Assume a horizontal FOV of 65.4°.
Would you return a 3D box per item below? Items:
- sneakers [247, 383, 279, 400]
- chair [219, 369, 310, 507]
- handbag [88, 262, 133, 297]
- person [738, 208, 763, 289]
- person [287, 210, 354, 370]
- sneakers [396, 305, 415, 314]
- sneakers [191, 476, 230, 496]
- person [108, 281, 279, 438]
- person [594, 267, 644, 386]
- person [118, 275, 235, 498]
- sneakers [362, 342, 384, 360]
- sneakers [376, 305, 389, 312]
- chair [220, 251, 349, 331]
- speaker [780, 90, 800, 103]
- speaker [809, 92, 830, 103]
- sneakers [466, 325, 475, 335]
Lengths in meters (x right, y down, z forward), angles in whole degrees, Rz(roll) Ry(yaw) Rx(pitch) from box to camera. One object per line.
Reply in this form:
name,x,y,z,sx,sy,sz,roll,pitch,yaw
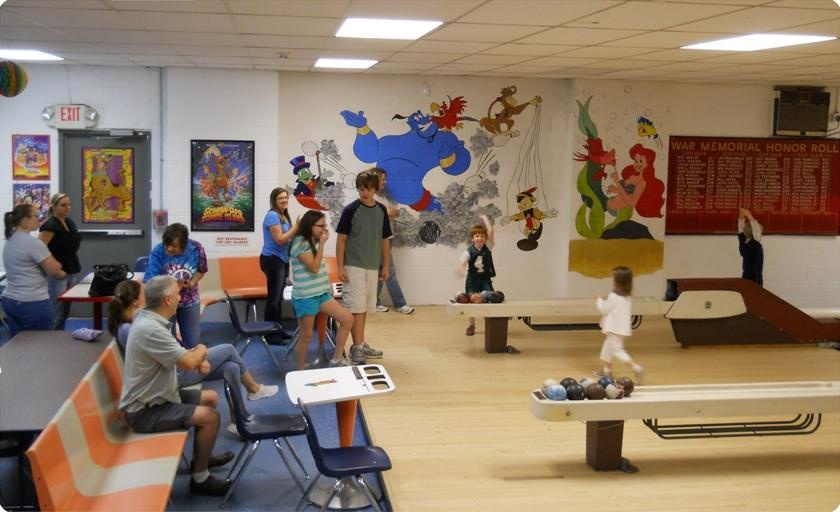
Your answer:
sneakers,-1.737,1.542,7.383,0.386,0.155,0.161,-6,18,-11
chair,-1.573,1.836,6.809,1.024,1.092,0.783,1,2,-23
handbag,-4.016,0.319,8.702,0.663,0.377,0.599,-8,3,-34
person,6.155,-0.172,12.131,0.464,1.399,0.441,-1,9,0
person,-1.254,0.434,8.227,0.691,1.978,0.303,-3,9,-11
sneakers,-0.234,0.934,11.394,0.277,0.112,0.138,-2,1,28
sneakers,-2.111,2.339,6.644,0.350,0.137,0.188,-1,2,0
person,-2.489,0.984,7.504,2.053,1.242,0.772,7,0,-44
person,2.533,0.863,8.363,0.518,1.446,0.707,0,8,6
person,-2.465,1.360,6.842,1.307,2.102,0.881,1,3,-23
sneakers,-0.682,1.309,9.120,0.368,0.148,0.129,9,12,-29
sneakers,-0.628,0.909,11.412,0.249,0.106,0.105,6,6,24
chair,-2.240,0.631,10.817,1.989,1.267,0.759,-3,3,-20
speaker,6.808,-2.920,12.043,0.381,0.237,0.198,1,9,6
speaker,7.368,-2.905,12.050,0.357,0.220,0.185,0,0,6
sneakers,0.808,1.159,10.278,0.145,0.163,0.423,-1,-3,6
